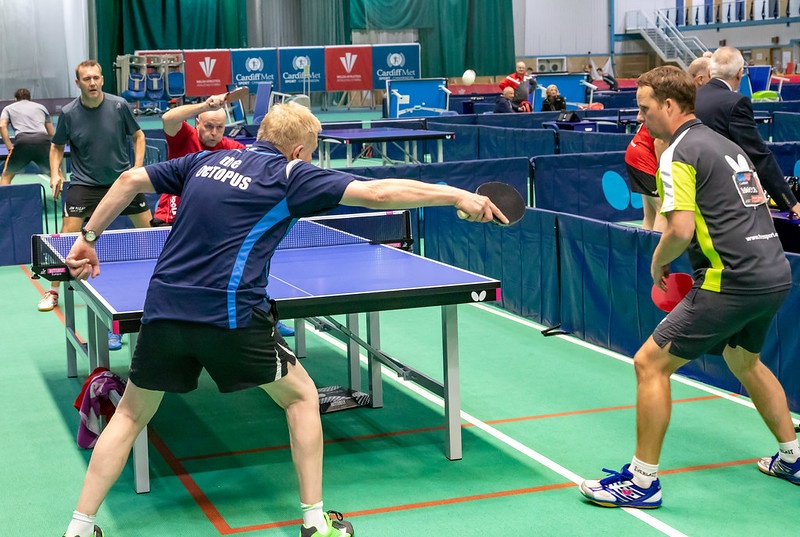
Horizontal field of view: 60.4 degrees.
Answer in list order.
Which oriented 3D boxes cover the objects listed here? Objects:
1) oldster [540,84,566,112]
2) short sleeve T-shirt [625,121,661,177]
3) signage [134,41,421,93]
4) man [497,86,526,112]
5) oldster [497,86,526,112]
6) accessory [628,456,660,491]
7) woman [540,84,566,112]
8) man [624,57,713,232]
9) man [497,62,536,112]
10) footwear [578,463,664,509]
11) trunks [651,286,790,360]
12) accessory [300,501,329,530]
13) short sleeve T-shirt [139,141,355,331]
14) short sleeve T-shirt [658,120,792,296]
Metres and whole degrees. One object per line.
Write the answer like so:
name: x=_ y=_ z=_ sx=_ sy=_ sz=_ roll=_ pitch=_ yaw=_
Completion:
oldster: x=3.932 y=-4.309 z=17.417 sx=0.479 sy=0.564 sz=0.588 roll=-11 pitch=18 yaw=-35
short sleeve T-shirt: x=2.107 y=-1.103 z=5.944 sx=0.277 sy=0.489 sz=0.389 roll=5 pitch=33 yaw=6
signage: x=-3.419 y=-6.677 z=23.088 sx=7.914 sy=1.539 sz=1.040 roll=-4 pitch=15 yaw=-11
man: x=2.694 y=-4.098 z=16.845 sx=0.783 sy=0.841 sz=0.628 roll=0 pitch=16 yaw=15
oldster: x=2.686 y=-4.107 z=16.859 sx=0.783 sy=0.841 sz=0.628 roll=0 pitch=16 yaw=15
accessory: x=1.346 y=1.110 z=3.794 sx=0.178 sy=0.187 sz=0.116 roll=3 pitch=7 yaw=31
woman: x=3.932 y=-4.309 z=17.417 sx=0.479 sy=0.564 sz=0.588 roll=-11 pitch=18 yaw=-35
man: x=2.190 y=-0.864 z=6.009 sx=0.496 sy=1.126 sz=0.331 roll=-17 pitch=8 yaw=-10
man: x=3.046 y=-4.327 z=17.402 sx=0.797 sy=1.609 sz=0.469 roll=-8 pitch=16 yaw=-7
footwear: x=1.234 y=1.200 z=3.928 sx=0.492 sy=0.252 sz=0.199 roll=4 pitch=1 yaw=2
trunks: x=1.862 y=0.281 z=3.754 sx=0.573 sy=0.339 sz=0.341 roll=2 pitch=7 yaw=8
accessory: x=-0.398 y=1.188 z=3.366 sx=0.083 sy=0.158 sz=0.157 roll=-4 pitch=10 yaw=13
short sleeve T-shirt: x=-0.755 y=-0.185 z=3.306 sx=0.976 sy=0.815 sz=0.487 roll=-2 pitch=15 yaw=-4
short sleeve T-shirt: x=1.730 y=-0.329 z=3.631 sx=0.697 sy=0.870 sz=0.365 roll=4 pitch=15 yaw=18
